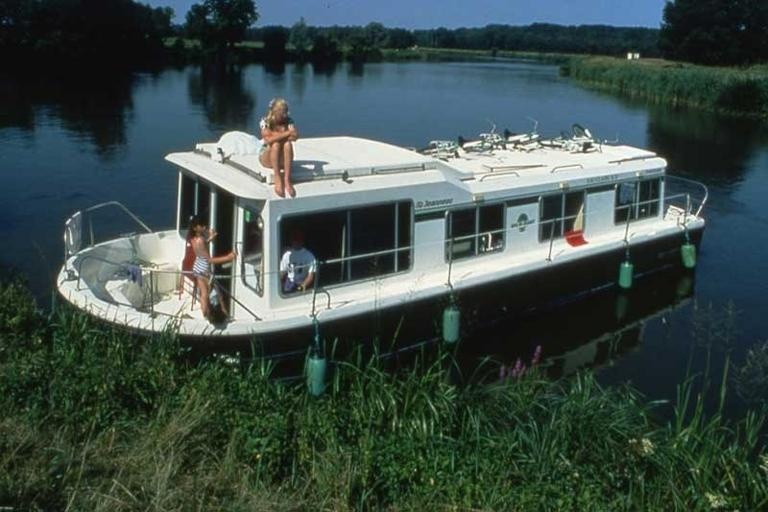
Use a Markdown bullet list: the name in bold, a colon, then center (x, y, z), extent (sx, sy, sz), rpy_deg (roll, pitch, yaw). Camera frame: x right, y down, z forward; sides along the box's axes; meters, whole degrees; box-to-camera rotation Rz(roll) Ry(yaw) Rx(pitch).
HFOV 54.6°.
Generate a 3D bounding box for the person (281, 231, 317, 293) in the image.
- **person**: center (-1.648, 0.094, 14.006), extent (0.711, 1.111, 0.691), rpy_deg (2, 11, 7)

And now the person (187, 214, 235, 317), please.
- **person**: center (-3.374, 0.184, 14.254), extent (0.801, 1.732, 1.286), rpy_deg (-8, 22, -23)

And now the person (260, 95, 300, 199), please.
- **person**: center (-1.961, -2.079, 13.981), extent (0.614, 1.648, 1.098), rpy_deg (-6, 22, -18)
